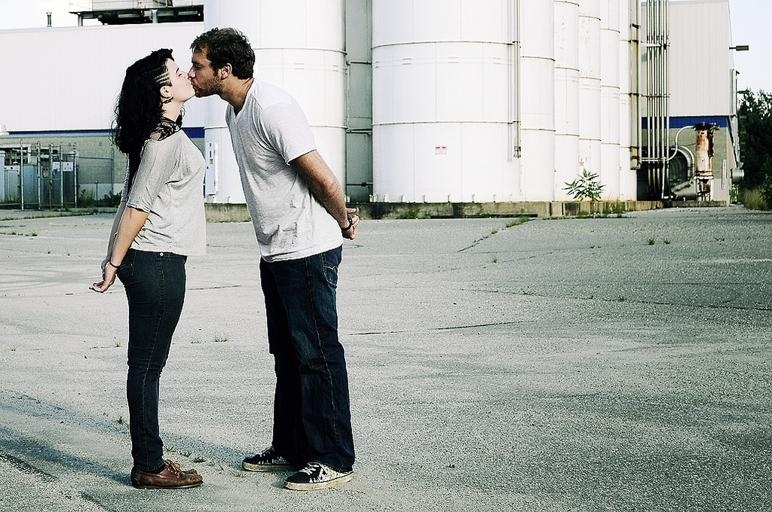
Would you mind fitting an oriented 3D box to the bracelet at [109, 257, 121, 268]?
[{"bbox_3d":[-1.821,0.056,6.402,0.077,0.070,0.100,1,4,33],"label":"bracelet"}]

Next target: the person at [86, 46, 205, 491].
[{"bbox_3d":[-1.566,0.079,6.422,0.666,2.967,0.450,-1,2,-16],"label":"person"}]

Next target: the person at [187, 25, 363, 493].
[{"bbox_3d":[-0.717,-0.019,6.562,1.021,3.175,0.586,-1,2,0],"label":"person"}]

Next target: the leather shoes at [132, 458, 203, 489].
[{"bbox_3d":[-1.459,1.501,6.423,0.495,0.230,0.195,-2,-2,-8],"label":"leather shoes"}]

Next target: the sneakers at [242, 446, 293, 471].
[{"bbox_3d":[-0.846,1.461,6.731,0.332,0.166,0.143,4,-3,-10],"label":"sneakers"}]

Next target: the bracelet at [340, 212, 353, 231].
[{"bbox_3d":[-0.264,-0.233,6.669,0.048,0.149,0.052,-2,24,-1],"label":"bracelet"}]
